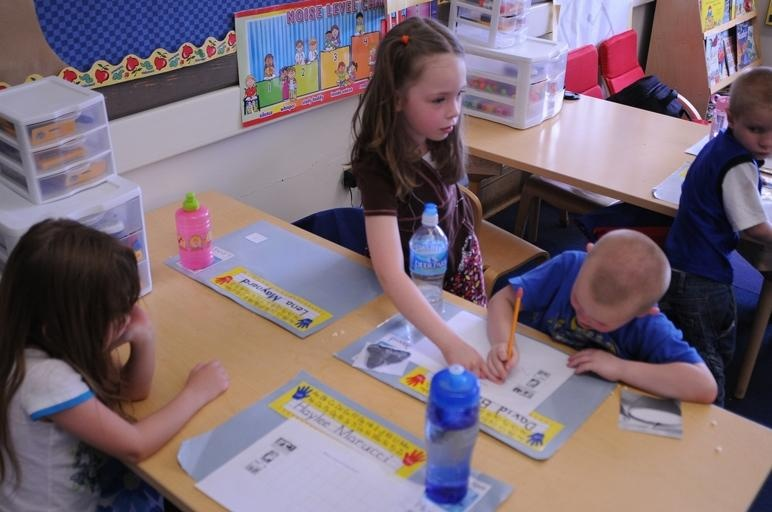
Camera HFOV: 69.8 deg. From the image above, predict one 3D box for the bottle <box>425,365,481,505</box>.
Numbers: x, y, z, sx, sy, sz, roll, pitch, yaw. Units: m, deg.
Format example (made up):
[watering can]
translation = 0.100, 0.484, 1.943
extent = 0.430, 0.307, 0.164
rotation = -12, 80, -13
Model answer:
[bottle]
translation = 0.138, 0.385, 1.176
extent = 0.113, 0.297, 0.138
rotation = 2, 35, 8

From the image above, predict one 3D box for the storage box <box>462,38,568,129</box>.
[storage box]
translation = 0.622, -0.849, 2.943
extent = 0.514, 0.332, 0.504
rotation = 24, 44, 30

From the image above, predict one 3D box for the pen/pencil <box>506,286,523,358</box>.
[pen/pencil]
translation = 0.366, 0.188, 1.571
extent = 0.017, 0.023, 0.193
rotation = 11, 81, 38
